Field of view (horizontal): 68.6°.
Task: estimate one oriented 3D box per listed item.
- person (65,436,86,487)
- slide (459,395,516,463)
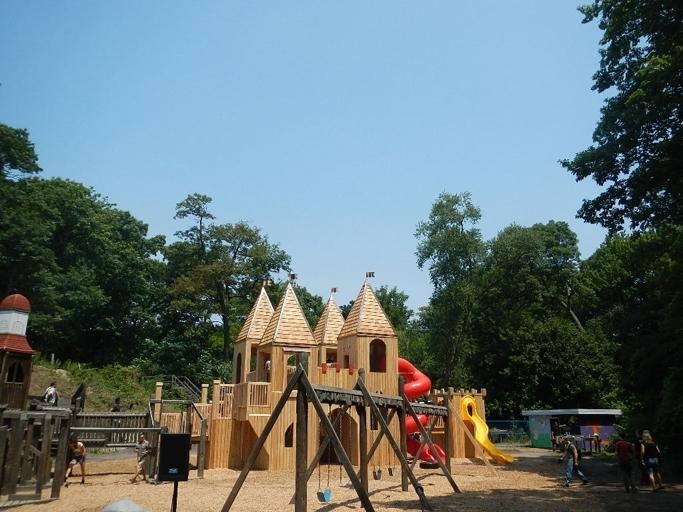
[{"bbox_3d":[-9.436,7.363,17.895,0.660,1.601,2.209,9,-24,-25],"label":"person"},{"bbox_3d":[7.233,8.767,25.582,1.609,3.541,2.827,7,-23,-20],"label":"slide"}]
